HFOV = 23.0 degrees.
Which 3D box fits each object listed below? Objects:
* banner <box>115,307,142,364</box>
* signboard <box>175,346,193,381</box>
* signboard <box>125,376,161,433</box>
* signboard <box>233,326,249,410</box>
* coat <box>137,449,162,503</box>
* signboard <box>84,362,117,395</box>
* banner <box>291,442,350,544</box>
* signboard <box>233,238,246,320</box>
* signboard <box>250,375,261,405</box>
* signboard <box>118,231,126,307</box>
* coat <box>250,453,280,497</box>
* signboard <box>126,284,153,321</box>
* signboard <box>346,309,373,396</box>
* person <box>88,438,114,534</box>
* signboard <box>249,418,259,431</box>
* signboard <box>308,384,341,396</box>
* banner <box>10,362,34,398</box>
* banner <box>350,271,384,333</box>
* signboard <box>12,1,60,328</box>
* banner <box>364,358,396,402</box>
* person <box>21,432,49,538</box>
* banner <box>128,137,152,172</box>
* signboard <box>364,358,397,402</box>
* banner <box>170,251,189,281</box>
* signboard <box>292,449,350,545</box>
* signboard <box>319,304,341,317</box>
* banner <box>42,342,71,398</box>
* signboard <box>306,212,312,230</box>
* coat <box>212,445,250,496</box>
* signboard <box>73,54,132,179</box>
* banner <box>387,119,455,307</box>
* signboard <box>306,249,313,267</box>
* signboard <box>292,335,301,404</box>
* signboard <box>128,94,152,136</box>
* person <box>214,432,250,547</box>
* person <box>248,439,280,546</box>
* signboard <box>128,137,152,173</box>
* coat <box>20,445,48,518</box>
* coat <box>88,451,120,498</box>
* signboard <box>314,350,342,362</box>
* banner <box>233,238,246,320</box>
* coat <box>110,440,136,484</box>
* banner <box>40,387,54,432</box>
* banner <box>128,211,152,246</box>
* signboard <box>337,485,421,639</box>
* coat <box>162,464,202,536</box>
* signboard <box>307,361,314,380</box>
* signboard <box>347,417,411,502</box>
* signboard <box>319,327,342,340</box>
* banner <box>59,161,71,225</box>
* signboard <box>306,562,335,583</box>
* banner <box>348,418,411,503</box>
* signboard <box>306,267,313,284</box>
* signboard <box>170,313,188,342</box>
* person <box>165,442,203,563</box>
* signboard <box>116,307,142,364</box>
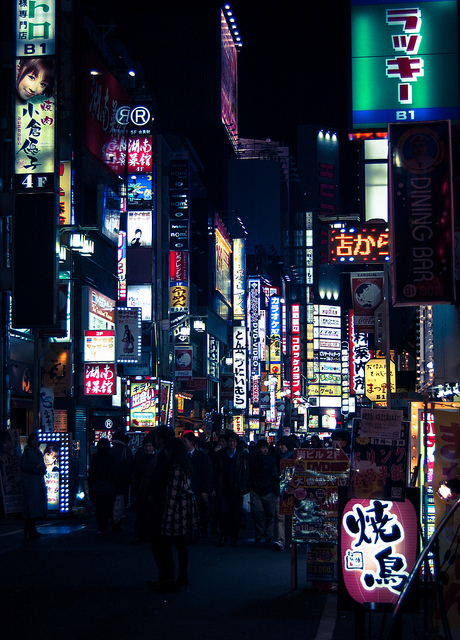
[{"bbox_3d":[-2.604,0.417,28.902,0.657,1.660,0.177,-2,-29,-2],"label":"banner"},{"bbox_3d":[-1.355,1.224,32.777,0.489,1.001,1.081,2,-6,-5],"label":"signboard"},{"bbox_3d":[-2.291,2.159,28.878,0.909,1.466,0.896,1,-3,-39],"label":"signboard"},{"bbox_3d":[0.401,1.764,42.871,0.554,3.385,0.282,-6,-19,18],"label":"signboard"},{"bbox_3d":[-0.952,1.813,13.136,0.353,0.580,0.135,1,10,-19],"label":"coat"},{"bbox_3d":[-3.230,1.439,28.022,0.783,0.811,0.703,3,-5,-10],"label":"signboard"},{"bbox_3d":[0.911,1.941,12.859,0.676,1.330,0.744,0,-7,-1],"label":"banner"},{"bbox_3d":[0.474,-2.075,55.918,0.673,4.202,0.475,3,23,8],"label":"signboard"},{"bbox_3d":[0.969,2.820,45.347,0.564,0.982,0.237,-1,2,-13],"label":"signboard"},{"bbox_3d":[-3.098,-1.515,32.475,0.176,2.135,0.376,-4,-6,3],"label":"signboard"},{"bbox_3d":[0.554,2.314,16.753,0.358,0.635,0.727,5,-6,-30],"label":"coat"},{"bbox_3d":[-2.557,-0.515,32.238,0.774,1.438,0.879,-1,4,-1],"label":"signboard"},{"bbox_3d":[5.074,1.339,44.058,0.876,0.551,5.053,5,39,5],"label":"signboard"},{"bbox_3d":[-2.075,2.680,18.275,0.391,1.511,0.510,2,-5,-7],"label":"person"},{"bbox_3d":[0.979,4.301,46.497,0.341,0.516,0.636,2,-6,-1],"label":"signboard"},{"bbox_3d":[7.781,5.768,93.523,0.505,0.989,4.117,-3,-8,42],"label":"signboard"},{"bbox_3d":[-4.667,1.344,25.398,0.162,0.725,0.739,-3,-3,8],"label":"banner"},{"bbox_3d":[2.707,-0.372,22.249,0.672,1.466,0.033,-3,37,7],"label":"banner"},{"bbox_3d":[-3.543,-2.913,20.562,0.947,6.116,0.689,2,-5,-12],"label":"signboard"},{"bbox_3d":[4.252,1.704,32.196,0.910,1.461,0.129,-3,-32,14],"label":"banner"},{"bbox_3d":[-3.069,2.570,17.689,0.416,1.570,1.064,2,-5,-11],"label":"person"},{"bbox_3d":[-2.597,-4.718,32.445,0.796,1.354,0.124,-2,-2,2],"label":"banner"},{"bbox_3d":[4.254,1.724,32.194,0.910,1.474,0.129,-2,-33,12],"label":"signboard"},{"bbox_3d":[-1.527,-1.635,33.854,0.587,0.893,0.301,1,-5,8],"label":"banner"},{"bbox_3d":[0.985,1.947,12.216,0.414,0.494,0.865,2,32,6],"label":"signboard"},{"bbox_3d":[8.650,-0.817,98.142,0.701,1.185,3.214,-3,-7,39],"label":"signboard"},{"bbox_3d":[-4.035,1.143,26.364,0.655,1.242,0.564,3,-5,-12],"label":"banner"},{"bbox_3d":[6.806,-8.511,97.205,0.378,1.566,1.189,-1,-6,23],"label":"signboard"},{"bbox_3d":[0.049,2.313,17.479,0.504,0.753,0.393,5,23,17],"label":"coat"},{"bbox_3d":[-3.644,-6.017,33.835,0.051,2.602,4.073,-1,22,-27],"label":"signboard"},{"bbox_3d":[2.154,-1.238,12.759,0.715,2.178,0.608,1,-5,8],"label":"banner"},{"bbox_3d":[6.648,-5.268,95.611,0.480,1.745,1.480,1,-5,0],"label":"signboard"},{"bbox_3d":[3.511,2.443,59.930,0.478,3.281,1.333,1,-5,3],"label":"signboard"},{"bbox_3d":[-2.673,-5.944,33.564,0.819,1.816,0.161,0,-30,-4],"label":"signboard"},{"bbox_3d":[0.020,2.554,17.293,0.543,1.667,1.693,2,-5,-1],"label":"person"},{"bbox_3d":[0.478,2.585,16.877,0.501,1.817,0.548,-5,12,-4],"label":"person"},{"bbox_3d":[-2.594,-4.710,32.443,0.806,1.370,0.129,-2,-2,2],"label":"signboard"},{"bbox_3d":[-3.081,2.515,17.707,0.431,1.090,1.065,2,-5,-10],"label":"coat"},{"bbox_3d":[-2.041,2.535,18.347,0.591,0.965,0.460,2,-13,-10],"label":"coat"},{"bbox_3d":[8.014,2.973,94.213,2.985,1.032,0.404,7,-7,-39],"label":"signboard"},{"bbox_3d":[0.443,-2.045,55.925,0.739,4.528,0.478,2,25,6],"label":"banner"},{"bbox_3d":[-1.789,2.396,19.143,0.463,0.768,0.243,-8,-11,39],"label":"coat"},{"bbox_3d":[-3.621,1.761,22.441,0.309,0.830,0.063,6,-27,-22],"label":"banner"},{"bbox_3d":[-2.548,-2.561,31.950,0.807,1.414,0.144,0,-11,-5],"label":"banner"},{"bbox_3d":[1.330,2.047,10.151,0.727,1.069,0.600,1,-5,7],"label":"signboard"},{"bbox_3d":[-0.515,1.914,12.027,0.218,0.742,0.517,-3,-7,40],"label":"coat"},{"bbox_3d":[6.612,4.138,92.808,0.799,1.511,0.315,5,-6,-32],"label":"signboard"},{"bbox_3d":[1.351,1.247,10.330,0.523,0.873,0.080,1,24,0],"label":"signboard"},{"bbox_3d":[8.497,1.098,96.688,0.807,1.196,3.418,-2,-7,36],"label":"signboard"},{"bbox_3d":[-4.065,-3.158,27.260,0.130,1.498,0.523,10,14,25],"label":"banner"},{"bbox_3d":[0.980,2.735,12.219,0.305,0.260,0.182,1,-9,6],"label":"signboard"},{"bbox_3d":[1.366,1.292,10.414,0.536,0.865,0.081,-2,-37,16],"label":"banner"},{"bbox_3d":[6.591,-3.780,94.885,0.457,1.390,0.541,2,-5,-1],"label":"signboard"},{"bbox_3d":[-1.592,0.239,35.562,0.619,0.788,1.336,2,-10,-7],"label":"signboard"},{"bbox_3d":[-0.542,1.941,12.035,0.328,1.263,0.386,2,-5,-4],"label":"person"},{"bbox_3d":[-2.596,0.453,28.867,0.652,1.721,0.210,2,-34,-9],"label":"signboard"}]
